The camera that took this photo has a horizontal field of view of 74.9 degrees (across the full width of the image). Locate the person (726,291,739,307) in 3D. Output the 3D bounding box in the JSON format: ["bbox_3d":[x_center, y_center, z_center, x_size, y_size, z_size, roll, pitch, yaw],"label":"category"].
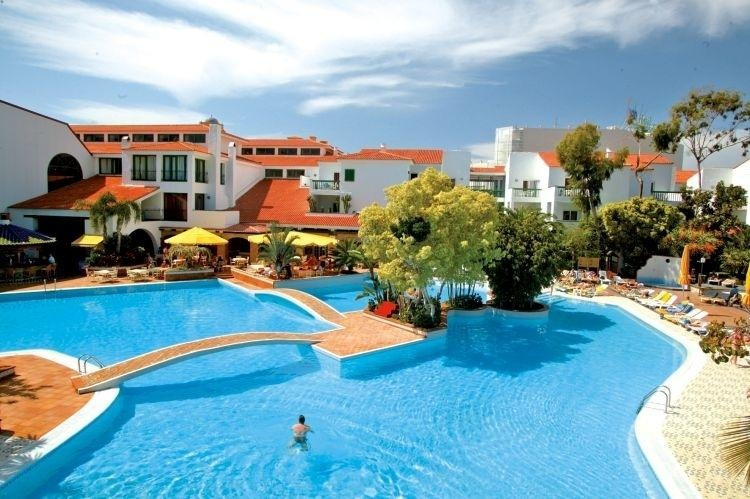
[{"bbox_3d":[23.613,3.318,32.133,0.696,0.731,1.021,3,4,37],"label":"person"}]

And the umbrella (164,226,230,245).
[{"bbox_3d":[-14.465,-0.989,38.471,3.570,1.488,4.718,-1,4,-28],"label":"umbrella"}]

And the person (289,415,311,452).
[{"bbox_3d":[-2.788,6.814,18.298,0.738,1.168,0.723,0,4,-10],"label":"person"}]
